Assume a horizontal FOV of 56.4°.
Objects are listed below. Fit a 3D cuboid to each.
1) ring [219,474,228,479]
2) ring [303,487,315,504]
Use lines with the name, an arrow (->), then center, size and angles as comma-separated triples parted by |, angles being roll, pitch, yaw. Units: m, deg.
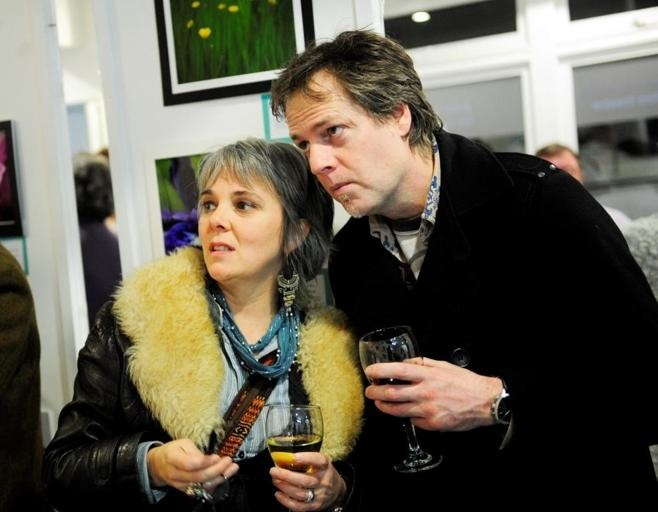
ring -> -0.352, 0.731, 2.045 | 0.018, 0.018, 0.019 | 21, -5, 2
ring -> -0.063, 0.802, 2.063 | 0.018, 0.051, 0.043 | 7, -5, -14
